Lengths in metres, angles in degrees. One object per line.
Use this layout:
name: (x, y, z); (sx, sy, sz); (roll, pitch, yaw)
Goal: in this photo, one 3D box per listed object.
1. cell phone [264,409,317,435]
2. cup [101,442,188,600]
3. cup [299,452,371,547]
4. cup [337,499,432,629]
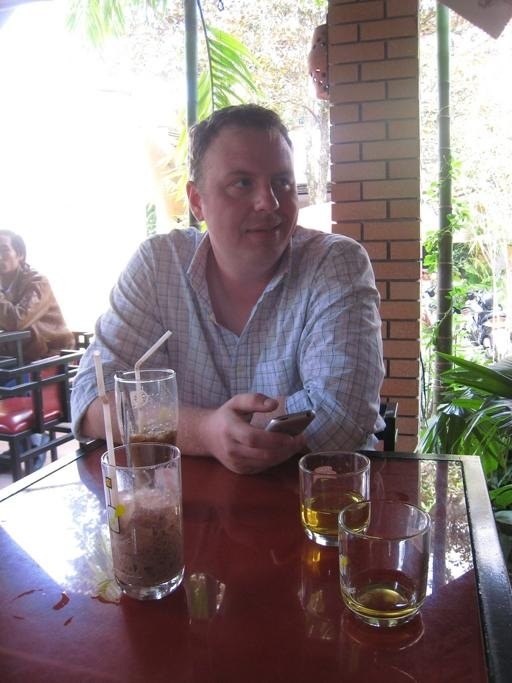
cell phone: (0.058, 0.132, 0.898); (0.076, 0.013, 0.133); (-15, -22, 2)
cup: (-0.114, 0.195, 0.582); (0.078, 0.145, 0.057); (-5, 9, -12)
cup: (0.090, 0.193, 0.691); (0.092, 0.103, 0.104); (-1, -1, 2)
cup: (0.124, 0.226, 0.580); (0.078, 0.087, 0.120); (-1, 12, 6)
